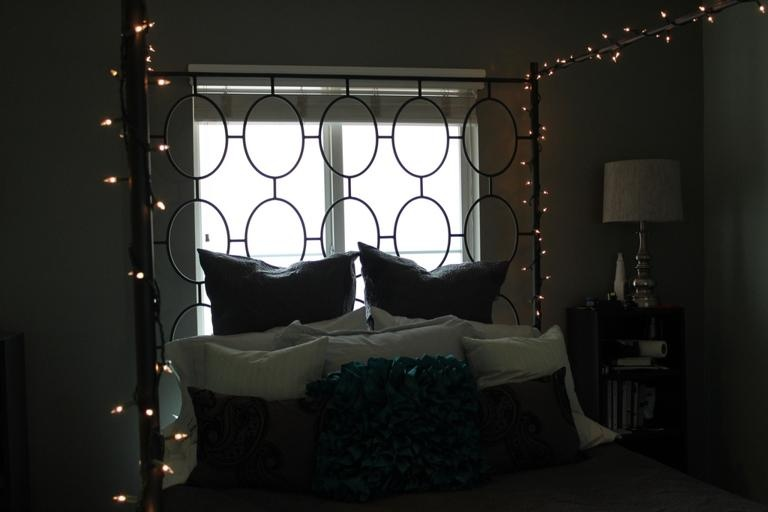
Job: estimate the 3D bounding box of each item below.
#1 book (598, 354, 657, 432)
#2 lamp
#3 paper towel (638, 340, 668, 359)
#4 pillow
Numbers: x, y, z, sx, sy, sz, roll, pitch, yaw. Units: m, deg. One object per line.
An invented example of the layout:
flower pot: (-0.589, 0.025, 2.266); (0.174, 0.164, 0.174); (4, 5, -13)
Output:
book: (1.489, 0.843, 4.559); (0.433, 0.465, 0.248); (-1, 2, -21)
lamp: (1.642, -0.154, 4.703); (0.473, 0.682, 0.353); (-3, -2, 16)
paper towel: (1.661, 0.573, 4.556); (0.133, 0.101, 0.107); (-1, -4, 23)
pillow: (-0.071, 0.546, 3.897); (2.118, 1.240, 0.844); (-2, -2, -12)
